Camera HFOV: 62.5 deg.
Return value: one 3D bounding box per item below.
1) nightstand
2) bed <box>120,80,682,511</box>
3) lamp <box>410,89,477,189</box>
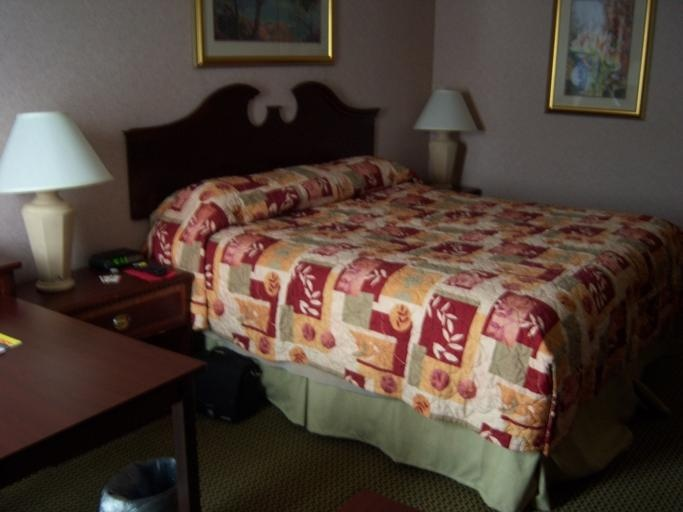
[{"bbox_3d":[-1.142,0.211,2.789,0.450,0.591,0.609,16,25,32],"label":"nightstand"},{"bbox_3d":[0.276,0.182,2.862,1.707,1.133,1.757,14,27,32],"label":"bed"},{"bbox_3d":[0.879,-1.015,4.786,0.561,0.922,0.613,11,27,25],"label":"lamp"}]
